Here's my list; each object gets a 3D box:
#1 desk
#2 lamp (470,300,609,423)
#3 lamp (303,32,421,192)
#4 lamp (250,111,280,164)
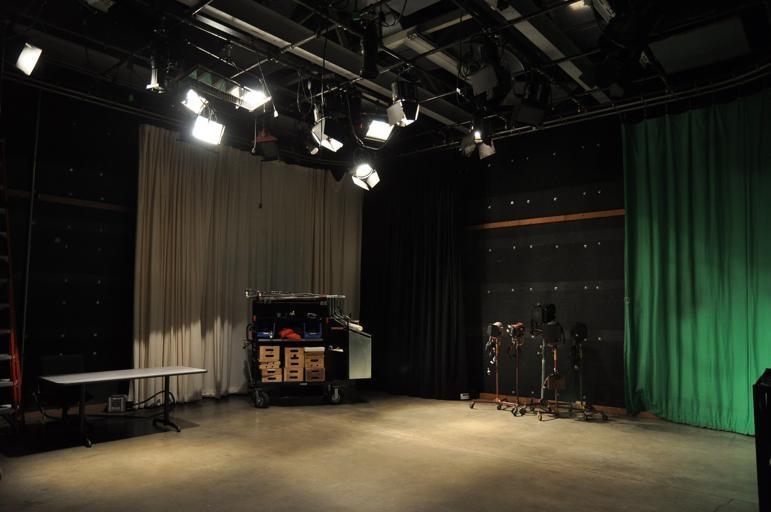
[{"bbox_3d":[-3.939,2.071,8.053,1.956,0.986,1.869,-1,2,-33],"label":"desk"},{"bbox_3d":[2.532,1.714,9.048,1.190,1.877,2.160,-2,2,-45],"label":"lamp"},{"bbox_3d":[-0.148,-1.980,7.813,1.354,1.841,0.636,-5,19,-11],"label":"lamp"},{"bbox_3d":[-1.951,-1.804,8.878,0.470,0.743,0.503,-4,-15,-3],"label":"lamp"}]
